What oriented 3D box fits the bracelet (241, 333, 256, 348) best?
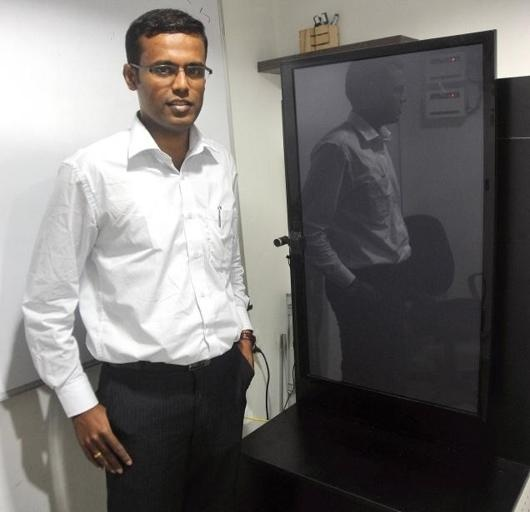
[{"bbox_3d":[-0.059,0.290,1.744,0.041,0.026,0.050,17,-14,3],"label":"bracelet"}]
